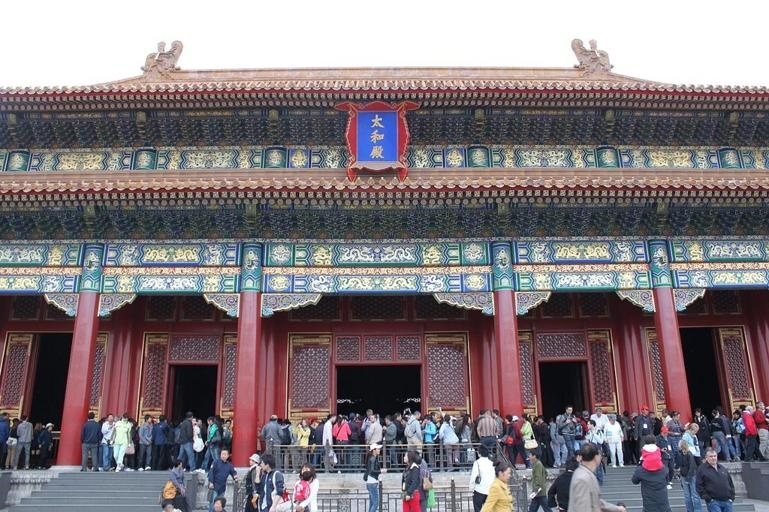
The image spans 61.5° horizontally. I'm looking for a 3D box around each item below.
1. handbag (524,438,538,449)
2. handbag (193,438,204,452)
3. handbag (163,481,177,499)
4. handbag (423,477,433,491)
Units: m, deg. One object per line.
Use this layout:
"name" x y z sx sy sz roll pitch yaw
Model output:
"handbag" 4.041 5.181 17.845 0.415 0.375 0.143 3 -32 -33
"handbag" -5.346 5.428 18.581 0.161 0.388 0.308 -4 -9 45
"handbag" -4.661 5.109 14.098 0.303 0.334 0.127 3 -14 0
"handbag" 0.944 4.934 13.972 0.139 0.279 0.304 -6 -17 13
